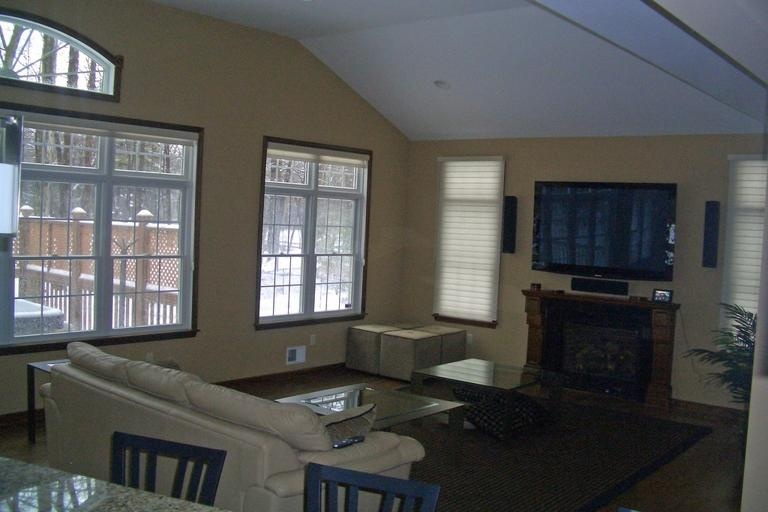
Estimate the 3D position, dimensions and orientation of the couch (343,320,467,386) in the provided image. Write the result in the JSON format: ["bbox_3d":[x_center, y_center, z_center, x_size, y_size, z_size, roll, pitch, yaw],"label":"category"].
[{"bbox_3d":[0.140,1.144,7.325,0.907,0.420,0.876,-1,2,-43],"label":"couch"}]

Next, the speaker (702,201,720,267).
[{"bbox_3d":[3.453,-0.231,6.132,0.203,0.698,0.096,10,12,32],"label":"speaker"}]

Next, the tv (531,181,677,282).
[{"bbox_3d":[2.589,-0.287,6.681,1.296,0.830,0.095,4,3,34],"label":"tv"}]

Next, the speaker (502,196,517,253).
[{"bbox_3d":[1.586,-0.393,7.357,0.210,0.722,0.149,5,10,7],"label":"speaker"}]

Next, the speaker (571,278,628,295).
[{"bbox_3d":[2.482,0.334,6.713,0.636,0.193,0.056,9,11,33],"label":"speaker"}]

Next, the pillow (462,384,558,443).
[{"bbox_3d":[1.185,1.517,5.648,0.608,0.134,0.607,-5,10,-24],"label":"pillow"}]
